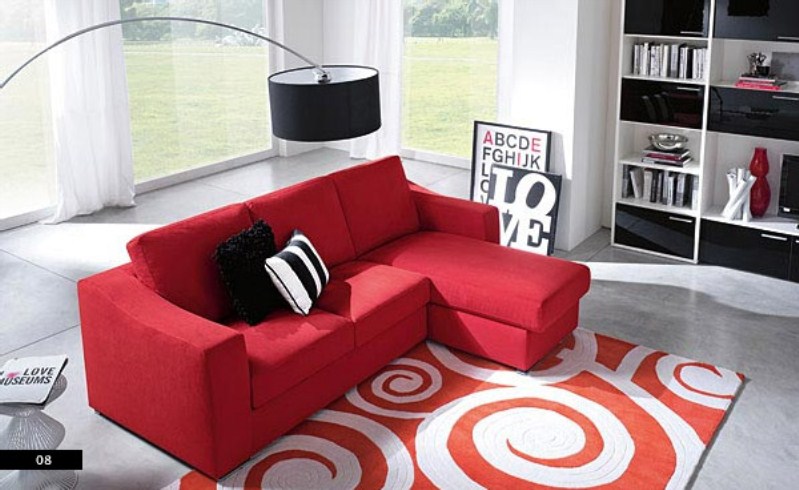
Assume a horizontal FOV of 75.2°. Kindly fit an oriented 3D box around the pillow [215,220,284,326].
[{"bbox_3d":[-1.010,0.215,3.514,0.178,0.566,0.595,-9,16,36],"label":"pillow"}]

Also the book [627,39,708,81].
[{"bbox_3d":[2.620,-1.790,5.063,0.633,0.341,0.087,9,23,26],"label":"book"}]

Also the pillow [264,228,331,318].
[{"bbox_3d":[-0.741,0.215,3.691,0.281,0.374,0.551,1,21,15],"label":"pillow"}]

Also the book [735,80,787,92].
[{"bbox_3d":[3.269,-1.457,4.754,0.335,0.094,0.123,10,22,30],"label":"book"}]

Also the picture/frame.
[{"bbox_3d":[1.239,-0.887,5.582,0.976,0.958,0.072,11,17,32],"label":"picture/frame"}]
